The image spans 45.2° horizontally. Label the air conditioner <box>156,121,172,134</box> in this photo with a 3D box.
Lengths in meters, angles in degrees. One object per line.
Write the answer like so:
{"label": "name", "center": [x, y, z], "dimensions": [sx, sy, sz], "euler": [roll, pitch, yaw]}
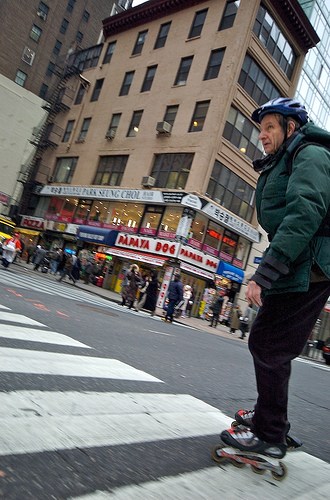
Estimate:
{"label": "air conditioner", "center": [-0.011, -8.339, 26.720], "dimensions": [0.902, 0.745, 0.786], "euler": [12, -12, 46]}

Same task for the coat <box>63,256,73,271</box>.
{"label": "coat", "center": [-4.954, 0.737, 21.042], "dimensions": [0.474, 0.724, 0.859], "euler": [22, -8, -8]}

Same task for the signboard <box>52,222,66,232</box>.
{"label": "signboard", "center": [-9.056, -1.961, 34.171], "dimensions": [1.008, 0.946, 0.311], "euler": [4, -23, 31]}

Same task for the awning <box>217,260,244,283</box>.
{"label": "awning", "center": [4.505, 1.550, 27.206], "dimensions": [0.624, 0.932, 2.570], "euler": [13, -10, 40]}

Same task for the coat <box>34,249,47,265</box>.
{"label": "coat", "center": [-7.534, 0.418, 24.006], "dimensions": [0.455, 0.956, 0.919], "euler": [21, -8, -2]}

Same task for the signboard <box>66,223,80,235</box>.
{"label": "signboard", "center": [-7.404, -1.738, 32.821], "dimensions": [0.874, 1.079, 1.580], "euler": [5, 6, -41]}

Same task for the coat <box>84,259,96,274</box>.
{"label": "coat", "center": [-5.227, 1.128, 27.925], "dimensions": [0.651, 0.964, 1.178], "euler": [22, -8, -9]}

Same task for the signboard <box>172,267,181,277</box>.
{"label": "signboard", "center": [0.657, 1.200, 21.913], "dimensions": [0.621, 0.562, 0.308], "euler": [11, -12, -38]}

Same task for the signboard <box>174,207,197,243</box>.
{"label": "signboard", "center": [1.321, -1.485, 24.241], "dimensions": [0.668, 1.706, 1.155], "euler": [12, -12, 46]}

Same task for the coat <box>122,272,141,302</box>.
{"label": "coat", "center": [-1.252, 1.351, 14.983], "dimensions": [0.575, 0.935, 0.701], "euler": [20, -9, 6]}

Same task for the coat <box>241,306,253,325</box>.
{"label": "coat", "center": [3.998, 3.170, 19.044], "dimensions": [0.377, 0.587, 0.695], "euler": [19, -8, 10]}

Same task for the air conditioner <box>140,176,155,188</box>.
{"label": "air conditioner", "center": [-1.052, -4.601, 26.829], "dimensions": [1.078, 0.607, 0.770], "euler": [10, -5, 43]}

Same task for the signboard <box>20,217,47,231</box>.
{"label": "signboard", "center": [-12.236, -2.529, 37.453], "dimensions": [5.070, 1.192, 0.252], "euler": [12, -13, 46]}

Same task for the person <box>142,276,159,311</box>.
{"label": "person", "center": [-0.543, 1.883, 17.076], "dimensions": [0.704, 1.173, 0.932], "euler": [21, -9, 0]}

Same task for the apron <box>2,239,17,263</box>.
{"label": "apron", "center": [-6.558, 0.018, 16.972], "dimensions": [0.460, 1.024, 0.486], "euler": [25, -10, -24]}

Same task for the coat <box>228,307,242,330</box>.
{"label": "coat", "center": [4.342, 4.188, 24.545], "dimensions": [0.792, 0.964, 3.399], "euler": [19, -8, 11]}

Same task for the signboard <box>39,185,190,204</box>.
{"label": "signboard", "center": [-4.314, -4.249, 29.714], "dimensions": [16.421, 1.026, 0.368], "euler": [12, -13, 47]}

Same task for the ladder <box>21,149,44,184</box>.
{"label": "ladder", "center": [-13.290, -8.498, 40.083], "dimensions": [0.557, 3.502, 1.089], "euler": [29, -12, -39]}

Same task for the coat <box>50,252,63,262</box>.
{"label": "coat", "center": [-6.529, 0.388, 24.424], "dimensions": [0.682, 0.563, 0.886], "euler": [8, 4, -27]}

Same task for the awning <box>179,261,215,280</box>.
{"label": "awning", "center": [2.058, 1.357, 24.774], "dimensions": [0.458, 0.720, 3.406], "euler": [13, -10, 41]}

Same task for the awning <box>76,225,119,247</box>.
{"label": "awning", "center": [-4.922, -1.115, 29.195], "dimensions": [4.080, 1.345, 0.711], "euler": [12, -13, 47]}

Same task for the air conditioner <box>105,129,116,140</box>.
{"label": "air conditioner", "center": [-4.167, -8.998, 30.788], "dimensions": [0.783, 0.557, 1.030], "euler": [7, 2, -6]}

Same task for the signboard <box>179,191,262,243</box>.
{"label": "signboard", "center": [3.919, -2.081, 26.339], "dimensions": [5.379, 0.544, 0.767], "euler": [32, -3, 14]}
